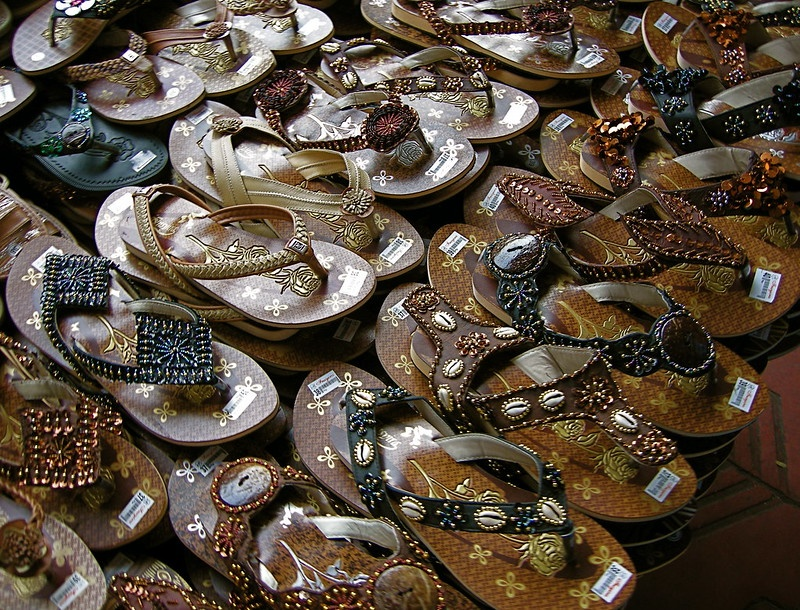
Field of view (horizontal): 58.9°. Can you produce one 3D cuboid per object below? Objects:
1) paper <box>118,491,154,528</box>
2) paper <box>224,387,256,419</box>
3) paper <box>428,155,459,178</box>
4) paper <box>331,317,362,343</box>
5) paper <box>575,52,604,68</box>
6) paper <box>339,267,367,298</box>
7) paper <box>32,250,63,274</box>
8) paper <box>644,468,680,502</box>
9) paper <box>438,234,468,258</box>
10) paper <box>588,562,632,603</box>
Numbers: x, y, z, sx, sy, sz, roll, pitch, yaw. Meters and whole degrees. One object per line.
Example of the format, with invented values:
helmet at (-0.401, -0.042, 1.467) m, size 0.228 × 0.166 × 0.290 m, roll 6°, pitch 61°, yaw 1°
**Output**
paper at (-0.708, 0.554, 1.932) m, size 0.066 × 0.020 × 0.092 m, roll 36°, pitch 74°, yaw 22°
paper at (-0.462, 0.280, 2.029) m, size 0.062 × 0.006 × 0.104 m, roll 27°, pitch 65°, yaw 14°
paper at (0.141, -0.471, 2.387) m, size 0.060 × 0.011 × 0.103 m, roll 34°, pitch 66°, yaw 23°
paper at (-0.174, 0.070, 2.213) m, size 0.071 × 0.006 × 0.092 m, roll 17°, pitch 57°, yaw 11°
paper at (0.703, -0.917, 2.622) m, size 0.103 × 0.015 × 0.057 m, roll -3°, pitch 55°, yaw -5°
paper at (-0.142, -0.073, 2.169) m, size 0.078 × 0.004 × 0.098 m, roll 13°, pitch 59°, yaw 8°
paper at (-1.121, -0.145, 2.291) m, size 0.081 × 0.018 × 0.078 m, roll -33°, pitch 44°, yaw -17°
paper at (0.735, 0.506, 1.988) m, size 0.060 × 0.009 × 0.099 m, roll 38°, pitch 69°, yaw 19°
paper at (0.176, -0.204, 2.326) m, size 0.062 × 0.009 × 0.094 m, roll 34°, pitch 67°, yaw 17°
paper at (0.551, 0.727, 1.839) m, size 0.065 × 0.024 × 0.104 m, roll 35°, pitch 66°, yaw 27°
